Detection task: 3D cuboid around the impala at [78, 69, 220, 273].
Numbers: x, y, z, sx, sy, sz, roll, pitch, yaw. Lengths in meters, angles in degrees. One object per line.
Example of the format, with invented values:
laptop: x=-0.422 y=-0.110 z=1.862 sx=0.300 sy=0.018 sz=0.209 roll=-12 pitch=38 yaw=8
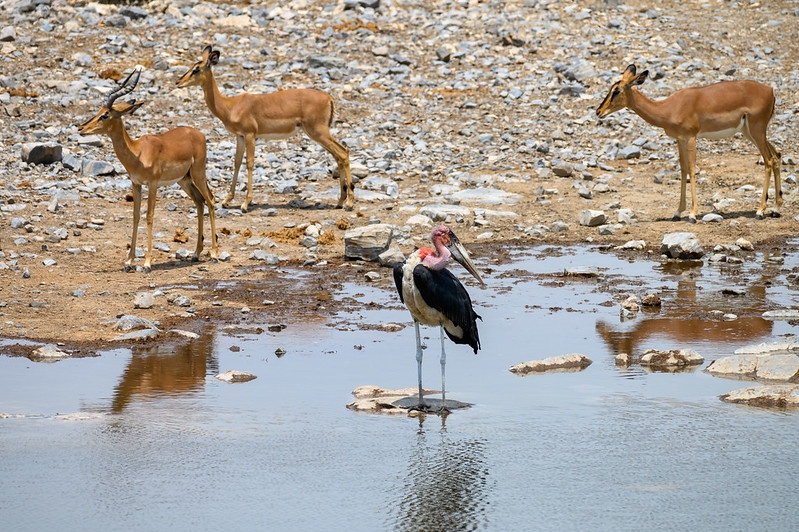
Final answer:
impala: x=-4.577 y=-1.798 z=20.904 sx=2.141 sy=3.699 sz=0.831 roll=-5 pitch=4 yaw=-44
